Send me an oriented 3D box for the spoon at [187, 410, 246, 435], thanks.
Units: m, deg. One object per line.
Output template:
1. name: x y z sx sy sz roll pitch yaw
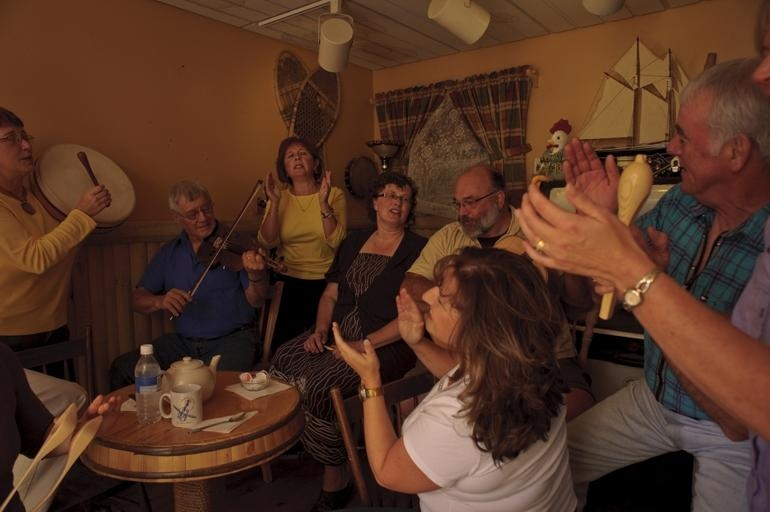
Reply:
1. spoon: -0.782 0.778 2.680 0.312 0.038 0.080 -5 4 -44

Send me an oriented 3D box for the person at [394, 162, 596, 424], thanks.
1. person: 0.552 0.228 3.556 1.192 1.542 0.913 6 14 38

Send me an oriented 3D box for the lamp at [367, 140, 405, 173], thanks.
1. lamp: 0.011 -1.070 6.019 0.313 0.414 0.326 -1 1 6

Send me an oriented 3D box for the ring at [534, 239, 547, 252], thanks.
1. ring: 0.495 -0.034 1.808 0.029 0.034 0.032 0 9 0

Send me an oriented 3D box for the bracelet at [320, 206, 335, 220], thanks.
1. bracelet: -0.445 -0.320 4.343 0.095 0.067 0.102 6 -7 -37

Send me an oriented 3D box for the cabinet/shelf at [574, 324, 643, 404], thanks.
1. cabinet/shelf: 1.454 0.661 3.718 0.424 0.718 0.499 -3 49 16

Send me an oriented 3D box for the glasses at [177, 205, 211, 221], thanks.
1. glasses: -1.307 -0.300 3.917 0.106 0.051 0.143 -20 1 -25

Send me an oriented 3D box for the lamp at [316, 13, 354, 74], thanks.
1. lamp: -0.368 -1.613 4.181 0.226 0.479 0.465 1 -22 -9

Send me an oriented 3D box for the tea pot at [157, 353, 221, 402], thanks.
1. tea pot: -0.974 0.561 2.846 0.203 0.189 0.295 18 22 37

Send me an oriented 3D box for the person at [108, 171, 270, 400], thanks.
1. person: -1.343 0.221 4.080 0.887 1.626 0.415 18 -18 -30
